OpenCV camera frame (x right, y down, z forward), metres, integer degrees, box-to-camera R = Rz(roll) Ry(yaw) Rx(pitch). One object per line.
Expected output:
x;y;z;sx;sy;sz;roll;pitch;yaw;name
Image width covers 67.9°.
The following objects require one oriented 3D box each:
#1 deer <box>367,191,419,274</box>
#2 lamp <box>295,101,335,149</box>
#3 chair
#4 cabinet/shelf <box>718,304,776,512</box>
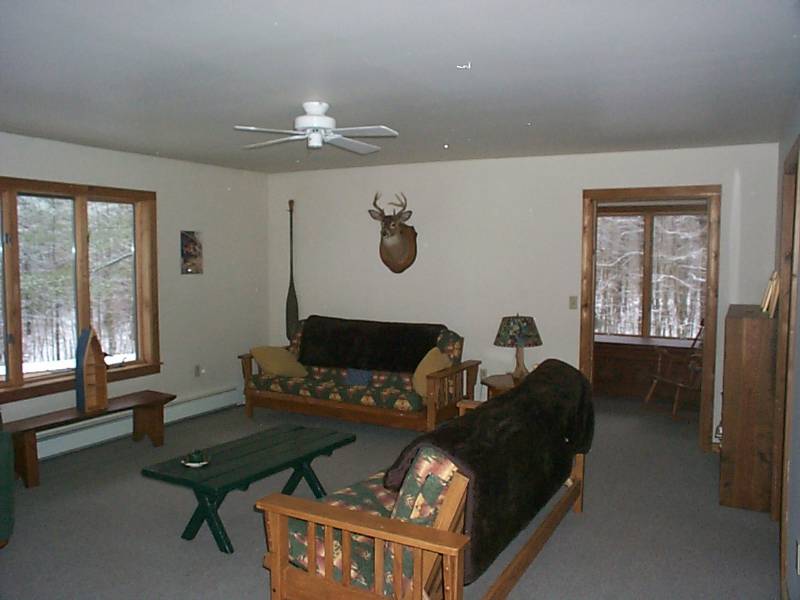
-0.053;-0.714;6.438;0.528;0.897;0.888;-1;9;-3;deer
-0.583;-1.213;4.095;0.274;0.280;0.279;6;9;43;lamp
3.275;0.758;7.044;0.570;0.805;1.286;4;10;28;chair
2.547;0.824;4.311;0.386;1.331;1.369;2;4;26;cabinet/shelf
